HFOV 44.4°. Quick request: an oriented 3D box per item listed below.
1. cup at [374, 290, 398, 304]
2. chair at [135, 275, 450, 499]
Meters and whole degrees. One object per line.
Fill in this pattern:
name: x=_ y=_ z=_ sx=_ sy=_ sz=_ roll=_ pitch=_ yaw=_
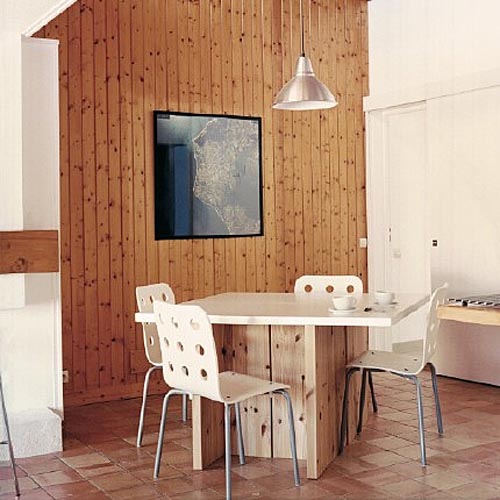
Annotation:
cup: x=0.738 y=0.265 z=3.394 sx=0.078 sy=0.083 sz=0.093 roll=1 pitch=-3 yaw=-42
chair: x=0.180 y=0.695 z=3.192 sx=1.467 sy=0.944 sz=0.910 roll=-2 pitch=2 yaw=-18
